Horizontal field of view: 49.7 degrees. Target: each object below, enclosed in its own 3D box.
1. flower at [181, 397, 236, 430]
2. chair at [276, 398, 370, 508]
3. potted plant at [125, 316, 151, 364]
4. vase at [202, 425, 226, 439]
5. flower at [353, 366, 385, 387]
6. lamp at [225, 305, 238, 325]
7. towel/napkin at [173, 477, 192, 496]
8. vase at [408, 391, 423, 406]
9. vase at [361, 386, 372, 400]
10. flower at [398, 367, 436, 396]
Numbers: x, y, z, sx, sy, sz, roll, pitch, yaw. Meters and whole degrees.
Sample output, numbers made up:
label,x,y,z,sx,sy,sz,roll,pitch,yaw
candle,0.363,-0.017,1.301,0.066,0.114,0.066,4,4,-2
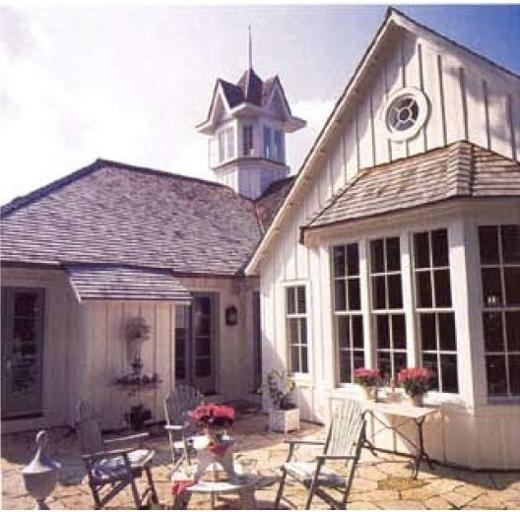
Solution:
label,x,y,z,sx,sy,sz,roll,pitch,yaw
flower,-0.596,2.028,7.105,0.530,0.295,0.367,-4,-11,9
chair,0.824,2.613,7.372,1.080,1.904,1.230,10,-20,-17
potted plant,-2.273,1.547,10.370,0.428,0.890,0.217,1,-9,-16
vase,-0.568,2.211,6.995,0.272,0.184,0.215,-1,-11,-4
flower,1.626,1.813,8.489,0.291,0.235,0.331,-2,-7,-4
lamp,-0.617,1.318,12.518,0.103,0.447,0.358,-9,-13,42
towel/napkin,-0.916,2.748,6.674,0.243,0.149,0.301,0,-12,-8
vase,2.178,1.967,7.772,0.138,0.147,0.174,1,-3,17
vase,1.597,2.042,8.324,0.144,0.142,0.130,6,-6,-40
flower,2.203,1.718,7.791,0.358,0.379,0.408,4,-11,-21
